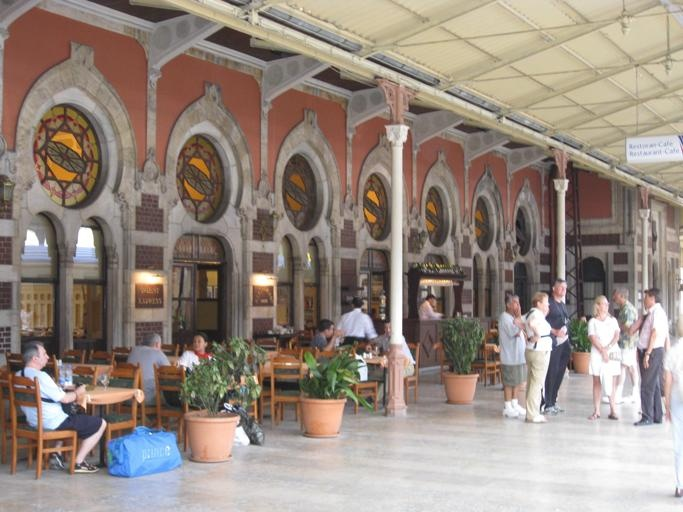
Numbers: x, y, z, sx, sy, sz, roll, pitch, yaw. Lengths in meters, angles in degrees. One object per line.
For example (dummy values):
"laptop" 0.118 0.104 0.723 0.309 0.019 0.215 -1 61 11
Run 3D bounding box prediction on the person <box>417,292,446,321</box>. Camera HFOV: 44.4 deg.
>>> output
"person" 2.442 1.417 23.057 0.839 0.769 0.572 -2 4 -32

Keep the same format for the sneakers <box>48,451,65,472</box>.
"sneakers" -4.147 2.986 12.104 0.089 0.275 0.120 -35 -6 42

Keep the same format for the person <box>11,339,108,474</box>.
"person" -4.001 2.170 11.941 1.194 1.856 0.625 2 -6 -19

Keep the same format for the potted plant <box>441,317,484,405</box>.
"potted plant" 2.595 2.253 18.055 0.853 1.801 1.995 -1 -7 8

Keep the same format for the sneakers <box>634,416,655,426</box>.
"sneakers" 5.431 2.970 15.128 0.405 0.186 0.146 2 -2 18

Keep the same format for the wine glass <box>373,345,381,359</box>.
"wine glass" 0.704 2.040 17.348 0.115 0.318 0.158 1 6 13

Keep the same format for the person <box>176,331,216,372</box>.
"person" -2.717 1.759 15.348 0.546 1.041 0.358 3 -20 5

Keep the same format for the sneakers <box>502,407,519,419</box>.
"sneakers" 3.159 2.929 15.688 0.271 0.206 0.190 -2 -7 11

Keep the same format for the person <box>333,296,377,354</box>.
"person" 0.340 1.600 18.340 0.805 1.395 0.704 5 2 14

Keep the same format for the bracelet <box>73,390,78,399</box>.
"bracelet" -3.766 1.963 11.831 0.069 0.109 0.034 0 -9 -7

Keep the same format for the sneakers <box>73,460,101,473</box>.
"sneakers" -3.680 3.038 12.042 0.314 0.156 0.135 2 1 -4

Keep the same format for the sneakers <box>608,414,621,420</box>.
"sneakers" 5.063 2.999 15.618 0.191 0.129 0.280 -3 -8 17
